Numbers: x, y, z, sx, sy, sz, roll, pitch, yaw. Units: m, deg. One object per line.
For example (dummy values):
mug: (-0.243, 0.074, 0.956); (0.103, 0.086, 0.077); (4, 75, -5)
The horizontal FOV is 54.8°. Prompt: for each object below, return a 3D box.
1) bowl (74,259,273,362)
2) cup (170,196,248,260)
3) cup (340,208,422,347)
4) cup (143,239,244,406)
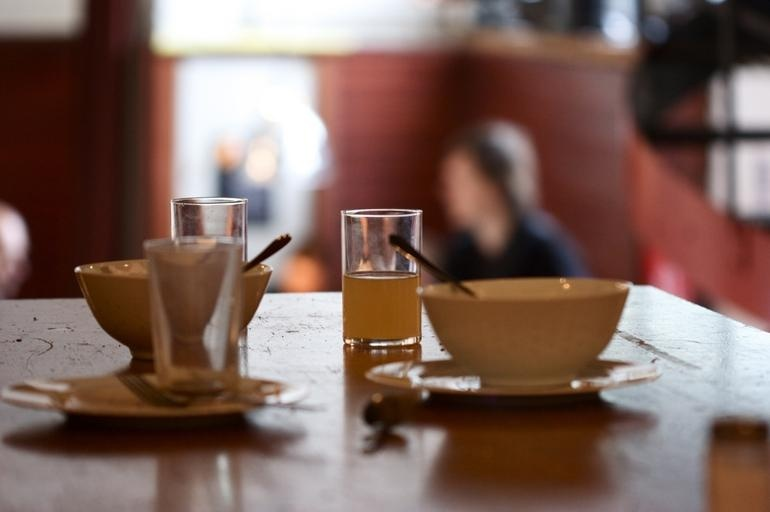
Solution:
bowl: (-0.246, 0.054, 0.846); (0.157, 0.069, 0.149); (1, -1, 0)
cup: (-0.212, -0.042, 0.907); (0.087, 0.089, 0.084); (5, 29, -3)
cup: (-0.003, 0.025, 0.929); (0.110, 0.163, 0.105); (-3, 8, 0)
cup: (-0.170, 0.052, 0.672); (0.088, 0.126, 0.087); (3, 2, 0)
